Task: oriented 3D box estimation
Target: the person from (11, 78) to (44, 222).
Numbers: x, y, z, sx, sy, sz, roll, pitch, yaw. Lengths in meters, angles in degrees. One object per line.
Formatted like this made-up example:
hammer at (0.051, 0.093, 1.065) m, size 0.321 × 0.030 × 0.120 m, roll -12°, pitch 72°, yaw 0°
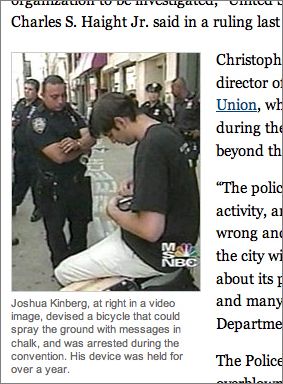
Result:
person at (-0.788, -0.264, 2.401) m, size 0.195 × 0.968 × 0.173 m, roll -1°, pitch 4°, yaw -17°

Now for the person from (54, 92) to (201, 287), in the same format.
person at (-0.008, 0.008, 2.127) m, size 0.557 × 1.172 × 0.732 m, roll -3°, pitch 6°, yaw -45°
